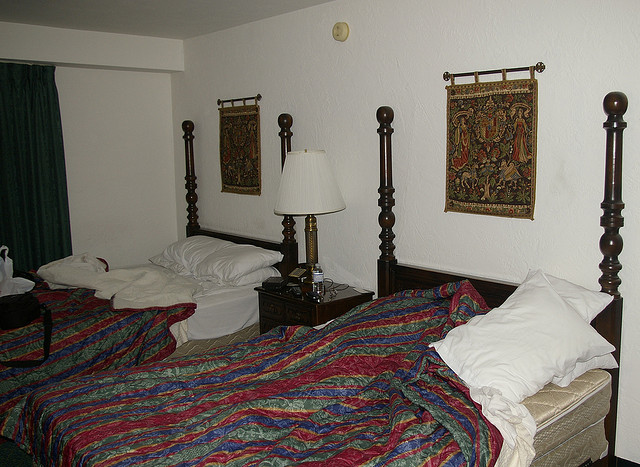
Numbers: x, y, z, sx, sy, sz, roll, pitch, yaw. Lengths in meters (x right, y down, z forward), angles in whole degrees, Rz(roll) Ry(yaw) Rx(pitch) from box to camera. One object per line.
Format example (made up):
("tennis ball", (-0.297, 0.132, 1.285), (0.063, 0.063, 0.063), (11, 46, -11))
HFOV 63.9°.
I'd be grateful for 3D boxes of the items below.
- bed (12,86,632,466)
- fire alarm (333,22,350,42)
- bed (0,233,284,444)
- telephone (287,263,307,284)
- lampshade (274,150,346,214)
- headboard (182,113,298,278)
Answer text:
("bed", (0.021, 0.229, 3.268), (2.816, 2.085, 1.943), (-13, 17, -41))
("fire alarm", (0.149, -1.511, 3.826), (0.028, 0.130, 0.118), (-11, 23, -43))
("bed", (-1.399, 0.581, 3.826), (1.420, 0.615, 1.211), (-6, 12, -43))
("telephone", (-0.173, 0.321, 4.048), (0.127, 0.149, 0.134), (-1, -4, 45))
("lampshade", (-0.090, -0.394, 3.826), (0.581, 0.493, 0.577), (8, 15, 44))
("headboard", (-0.698, -0.358, 4.649), (0.148, 1.583, 1.322), (-9, 12, -43))
